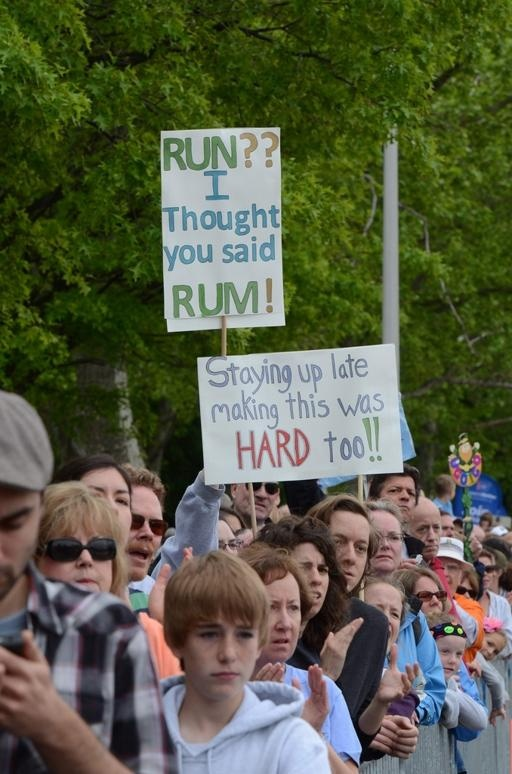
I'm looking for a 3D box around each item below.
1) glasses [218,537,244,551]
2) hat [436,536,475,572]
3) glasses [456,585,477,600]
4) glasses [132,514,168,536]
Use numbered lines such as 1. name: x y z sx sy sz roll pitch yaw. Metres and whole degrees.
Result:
1. glasses: -0.129 0.759 7.286 0.129 0.043 0.127 -7 -5 25
2. hat: 1.196 0.986 9.183 0.211 0.104 0.192 33 -31 -25
3. glasses: 1.300 1.273 9.397 0.115 0.036 0.112 -8 -16 37
4. glasses: -0.508 0.615 6.887 0.111 0.035 0.112 -31 -38 34
